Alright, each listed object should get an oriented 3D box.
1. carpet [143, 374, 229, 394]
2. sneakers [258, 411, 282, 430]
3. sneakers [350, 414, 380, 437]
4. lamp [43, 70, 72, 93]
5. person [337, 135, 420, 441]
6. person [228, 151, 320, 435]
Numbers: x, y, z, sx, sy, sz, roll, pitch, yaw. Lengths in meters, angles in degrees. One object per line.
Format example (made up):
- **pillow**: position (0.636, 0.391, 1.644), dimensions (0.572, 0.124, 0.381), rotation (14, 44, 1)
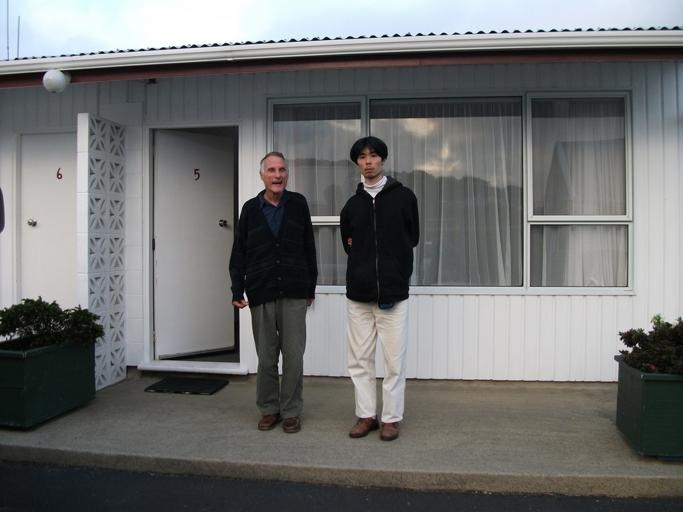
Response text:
- **carpet**: position (-1.581, 1.352, 7.272), dimensions (0.766, 0.072, 0.531), rotation (1, 5, 11)
- **sneakers**: position (-0.654, 1.515, 6.320), dimensions (0.089, 0.125, 0.251), rotation (0, -7, 15)
- **sneakers**: position (0.179, 1.522, 6.181), dimensions (0.107, 0.180, 0.330), rotation (-6, -8, 42)
- **lamp**: position (-2.792, -1.700, 6.801), dimensions (0.263, 0.205, 0.226), rotation (-1, 4, -13)
- **person**: position (0.339, 0.283, 6.173), dimensions (0.689, 2.616, 0.414), rotation (0, 3, 1)
- **person**: position (-0.604, 0.329, 6.286), dimensions (0.763, 2.464, 0.398), rotation (-1, 3, -8)
